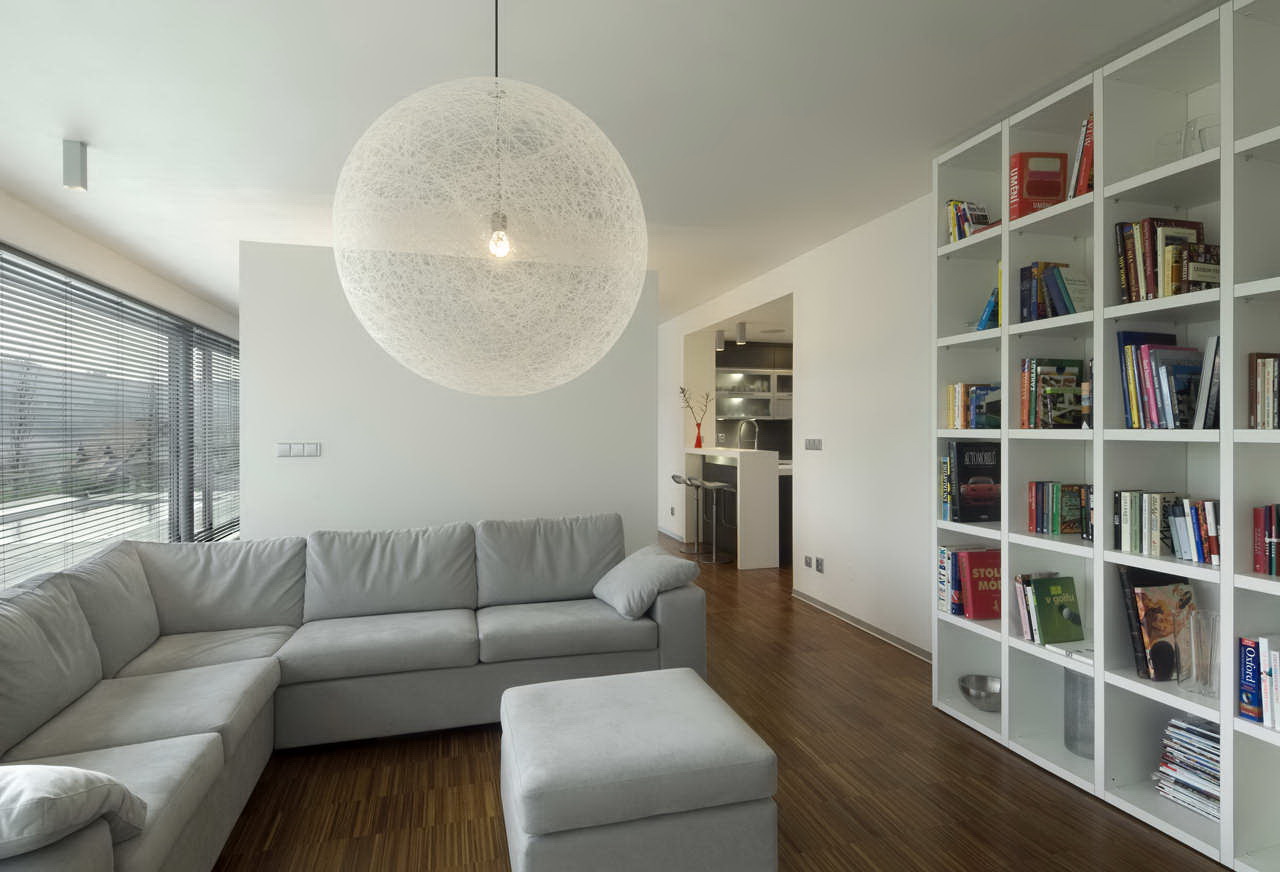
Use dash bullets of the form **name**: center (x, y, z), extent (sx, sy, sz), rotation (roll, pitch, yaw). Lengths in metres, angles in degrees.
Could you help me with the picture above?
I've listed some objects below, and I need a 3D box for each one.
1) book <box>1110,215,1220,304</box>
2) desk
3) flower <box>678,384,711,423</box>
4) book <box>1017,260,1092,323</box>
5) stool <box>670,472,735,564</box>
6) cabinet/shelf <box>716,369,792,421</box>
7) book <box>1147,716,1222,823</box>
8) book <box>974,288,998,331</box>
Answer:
- **book**: center (2.472, -0.758, 4.100), extent (0.516, 0.513, 0.385), rotation (-1, -1, -24)
- **desk**: center (0.909, 0.470, 8.519), extent (1.081, 0.724, 0.297), rotation (1, 2, 2)
- **flower**: center (0.665, -0.404, 10.186), extent (0.434, 0.520, 0.206), rotation (-2, 1, 3)
- **book**: center (2.213, -0.760, 4.505), extent (0.286, 0.396, 0.406), rotation (-1, 1, 37)
- **stool**: center (0.784, 0.864, 9.172), extent (0.660, 1.156, 1.412), rotation (-1, 0, -12)
- **cabinet/shelf**: center (1.521, -0.557, 11.295), extent (1.091, 0.689, 0.212), rotation (-4, 11, -17)
- **book**: center (2.608, 1.565, 4.006), extent (0.251, 0.384, 0.350), rotation (-8, 12, -36)
- **book**: center (1.979, -0.706, 4.790), extent (0.069, 0.234, 0.232), rotation (9, 24, 13)
